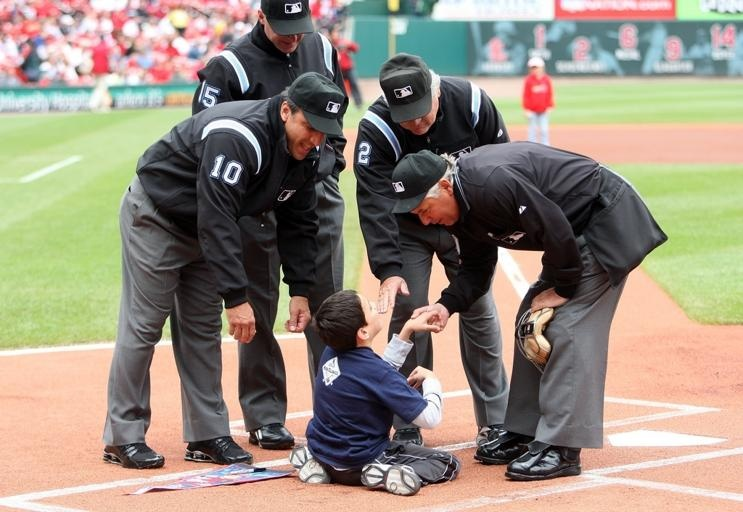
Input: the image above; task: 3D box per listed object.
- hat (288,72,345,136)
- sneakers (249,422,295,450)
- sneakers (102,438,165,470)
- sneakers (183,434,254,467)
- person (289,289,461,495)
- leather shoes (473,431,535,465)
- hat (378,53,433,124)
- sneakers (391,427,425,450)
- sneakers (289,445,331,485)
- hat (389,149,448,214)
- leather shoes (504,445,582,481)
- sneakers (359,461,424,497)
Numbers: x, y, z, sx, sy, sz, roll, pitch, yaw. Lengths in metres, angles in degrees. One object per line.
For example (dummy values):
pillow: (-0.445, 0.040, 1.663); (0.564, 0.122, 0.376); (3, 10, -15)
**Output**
hat: (-0.362, -0.986, 5.208); (0.389, 0.389, 0.257); (-2, 12, -3)
sneakers: (-0.738, 1.353, 6.034); (0.350, 0.156, 0.158); (-4, -3, 38)
sneakers: (-1.617, 1.354, 5.558); (0.433, 0.178, 0.169); (1, -2, 22)
sneakers: (-1.065, 1.376, 5.730); (0.482, 0.202, 0.182); (0, -4, 17)
person: (0.039, 0.872, 5.394); (0.997, 1.196, 1.391); (-1, -3, -25)
leather shoes: (0.900, 1.333, 5.600); (0.491, 0.189, 0.173); (0, 3, -31)
hat: (0.245, -1.184, 5.651); (0.366, 0.475, 0.275); (-1, 12, 3)
sneakers: (0.257, 1.278, 5.634); (0.244, 0.171, 0.416); (-2, -15, 7)
sneakers: (-0.421, 1.371, 5.251); (0.181, 0.267, 0.089); (-44, 7, -18)
hat: (0.260, -0.508, 5.197); (0.245, 0.436, 0.292); (48, -14, -32)
leather shoes: (1.124, 1.344, 5.185); (0.489, 0.216, 0.214); (4, -1, -7)
sneakers: (0.126, 1.368, 5.050); (0.379, 0.152, 0.169); (13, 8, 26)
